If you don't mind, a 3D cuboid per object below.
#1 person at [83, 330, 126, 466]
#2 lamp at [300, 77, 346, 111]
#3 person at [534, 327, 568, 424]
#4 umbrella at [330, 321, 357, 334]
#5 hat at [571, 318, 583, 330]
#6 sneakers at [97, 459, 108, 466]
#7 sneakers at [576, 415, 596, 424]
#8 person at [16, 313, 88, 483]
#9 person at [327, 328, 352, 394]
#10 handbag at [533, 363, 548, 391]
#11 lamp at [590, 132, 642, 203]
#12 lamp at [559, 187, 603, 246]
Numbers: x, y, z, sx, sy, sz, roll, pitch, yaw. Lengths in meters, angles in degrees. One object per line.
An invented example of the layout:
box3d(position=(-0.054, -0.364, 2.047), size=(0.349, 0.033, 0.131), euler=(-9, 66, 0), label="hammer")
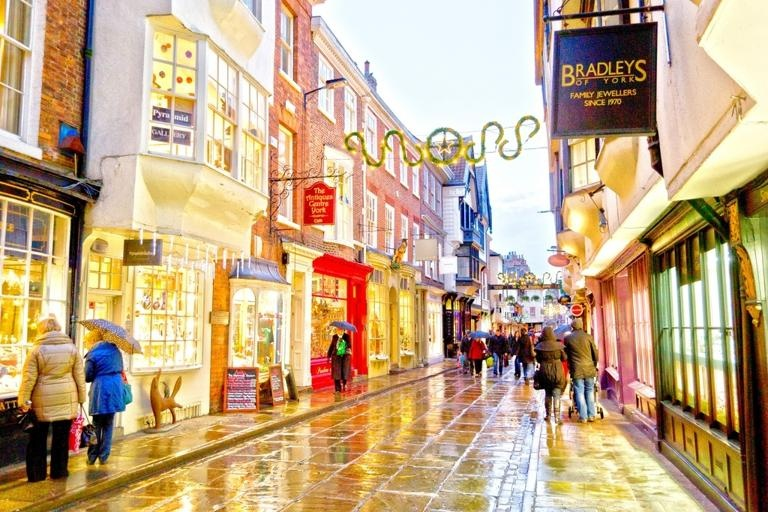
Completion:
box3d(position=(-4.946, 2.453, 11.088), size=(0.676, 2.334, 0.638), euler=(2, -5, -27), label="person")
box3d(position=(-1.972, -5.362, 20.814), size=(1.643, 0.649, 0.296), euler=(-14, -12, 19), label="lamp")
box3d(position=(4.012, 2.852, 15.052), size=(0.707, 2.312, 1.099), euler=(-1, -4, 15), label="person")
box3d(position=(-1.328, 2.314, 20.478), size=(0.709, 0.340, 1.827), euler=(1, -4, -4), label="umbrella")
box3d(position=(4.726, 1.662, 15.283), size=(0.210, 0.297, 0.289), euler=(6, 18, 16), label="hat")
box3d(position=(-4.832, 3.568, 10.802), size=(0.132, 0.072, 0.156), euler=(2, -5, -27), label="sneakers")
box3d(position=(4.891, 3.958, 15.064), size=(0.395, 0.205, 0.165), euler=(1, -2, -3), label="sneakers")
box3d(position=(-5.347, 2.300, 10.134), size=(0.936, 2.575, 0.478), euler=(2, -5, -28), label="person")
box3d(position=(-1.425, 3.483, 20.422), size=(0.686, 1.930, 0.579), euler=(0, -4, 3), label="person")
box3d(position=(3.745, 2.961, 14.961), size=(0.163, 0.732, 0.498), euler=(5, -3, 11), label="handbag")
box3d(position=(4.643, -1.757, 12.483), size=(0.676, 0.737, 2.205), euler=(-10, -14, 13), label="lamp")
box3d(position=(5.203, -0.646, 16.520), size=(0.965, 0.717, 2.271), euler=(-3, -1, 14), label="lamp")
